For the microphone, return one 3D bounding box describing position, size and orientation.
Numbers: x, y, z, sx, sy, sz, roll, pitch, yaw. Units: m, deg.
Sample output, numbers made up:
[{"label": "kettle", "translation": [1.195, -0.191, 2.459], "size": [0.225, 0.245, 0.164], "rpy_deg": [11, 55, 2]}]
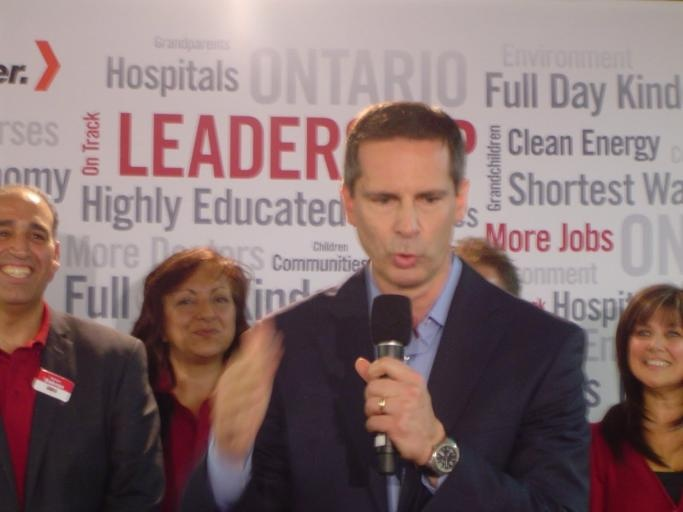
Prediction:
[{"label": "microphone", "translation": [0.188, 0.535, 3.231], "size": [0.167, 0.749, 0.266], "rpy_deg": [2, -2, 10]}]
